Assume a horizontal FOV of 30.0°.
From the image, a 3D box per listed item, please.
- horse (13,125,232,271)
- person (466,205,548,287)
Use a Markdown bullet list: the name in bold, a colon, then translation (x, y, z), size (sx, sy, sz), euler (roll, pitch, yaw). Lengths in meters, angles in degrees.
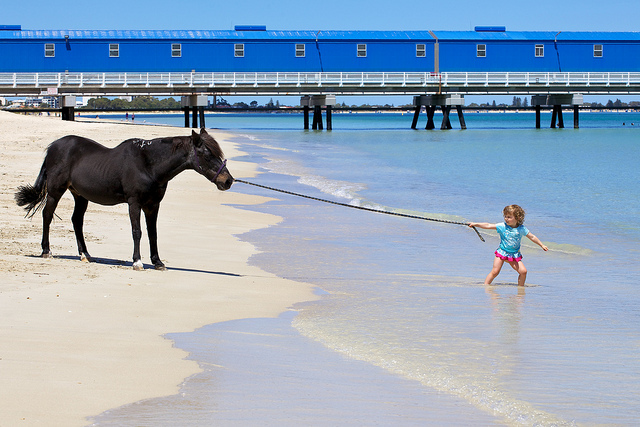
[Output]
- **horse**: translation (-3.979, -0.339, 23.956), size (5.562, 2.565, 1.298), euler (3, -2, 36)
- **person**: translation (3.838, 0.661, 24.430), size (1.268, 1.628, 0.659), euler (9, 15, 5)
